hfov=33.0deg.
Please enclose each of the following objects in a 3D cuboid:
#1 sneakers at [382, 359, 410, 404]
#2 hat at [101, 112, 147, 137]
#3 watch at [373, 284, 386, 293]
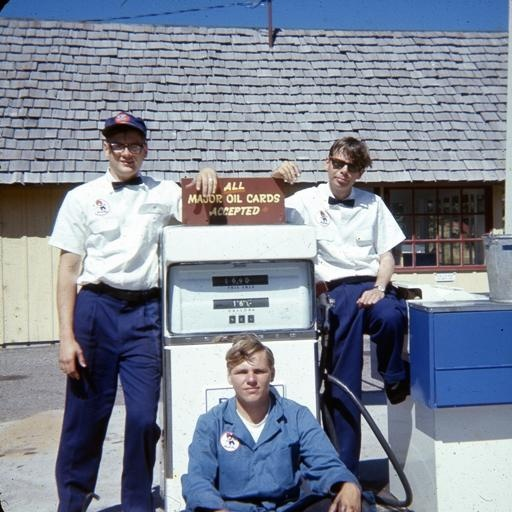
[{"bbox_3d":[0.884,0.810,5.364,0.182,0.295,0.186,-7,9,24],"label":"sneakers"},{"bbox_3d":[-0.779,-0.760,5.083,0.227,0.163,0.200,-8,9,21],"label":"hat"},{"bbox_3d":[0.767,0.198,5.366,0.060,0.041,0.056,11,-13,-33],"label":"watch"}]
